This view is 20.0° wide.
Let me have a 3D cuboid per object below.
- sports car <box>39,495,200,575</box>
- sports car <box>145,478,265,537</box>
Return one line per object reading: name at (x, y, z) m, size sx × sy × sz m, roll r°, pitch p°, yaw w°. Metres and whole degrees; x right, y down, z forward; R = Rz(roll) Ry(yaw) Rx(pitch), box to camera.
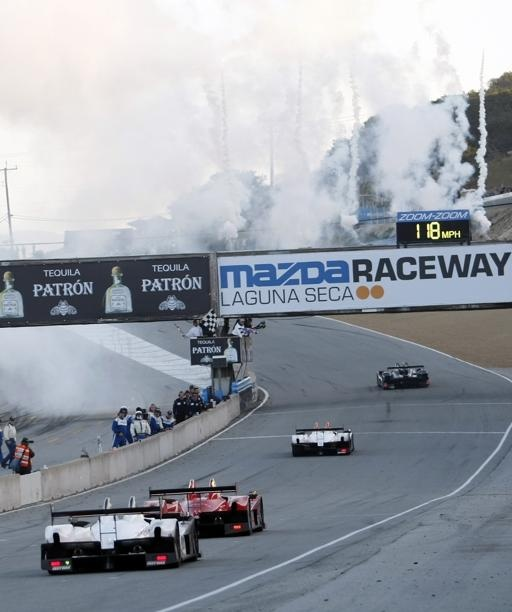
sports car at (-2.499, 4.212, 27.931) m, size 2.516 × 1.079 × 3.725 m, roll -3°, pitch -1°, yaw 6°
sports car at (-0.780, 4.317, 30.431) m, size 2.075 × 1.003 × 3.148 m, roll -6°, pitch -12°, yaw 17°
